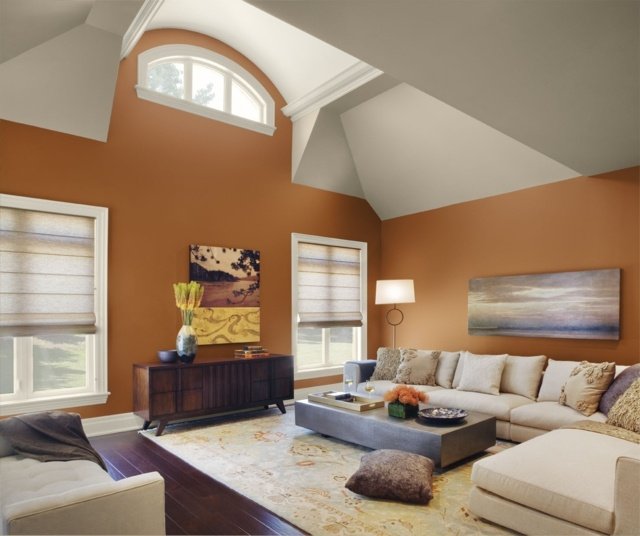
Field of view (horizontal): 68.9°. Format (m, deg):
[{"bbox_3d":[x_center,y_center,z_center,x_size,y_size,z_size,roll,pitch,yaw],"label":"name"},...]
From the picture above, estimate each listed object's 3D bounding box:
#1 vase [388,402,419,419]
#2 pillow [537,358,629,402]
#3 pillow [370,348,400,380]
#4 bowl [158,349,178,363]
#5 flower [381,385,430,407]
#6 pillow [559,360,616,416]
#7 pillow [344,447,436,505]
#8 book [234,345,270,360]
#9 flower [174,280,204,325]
[{"bbox_3d":[0.813,1.318,4.449,0.193,0.103,0.194,2,-3,-45],"label":"vase"},{"bbox_3d":[2.585,1.111,4.566,0.185,0.308,0.500,13,-11,-23],"label":"pillow"},{"bbox_3d":[0.854,1.223,6.036,0.403,0.372,0.132,-4,-37,36],"label":"pillow"},{"bbox_3d":[-1.735,0.999,5.280,0.182,0.084,0.155,1,-2,-31],"label":"bowl"},{"bbox_3d":[0.835,1.172,4.409,0.267,0.112,0.264,6,-8,-41],"label":"flower"},{"bbox_3d":[2.545,1.155,4.418,0.237,0.350,0.426,8,-11,-9],"label":"pillow"},{"bbox_3d":[0.548,1.600,3.622,0.635,0.265,0.394,-2,-2,14],"label":"pillow"},{"bbox_3d":[-0.911,1.082,5.940,0.267,0.108,0.194,3,-4,-43],"label":"book"},{"bbox_3d":[-1.547,0.417,5.468,0.305,0.502,0.165,-1,-2,-12],"label":"flower"}]
